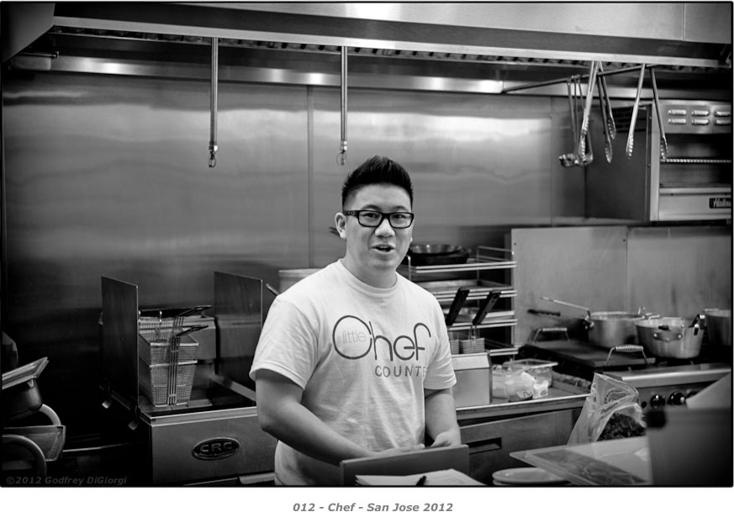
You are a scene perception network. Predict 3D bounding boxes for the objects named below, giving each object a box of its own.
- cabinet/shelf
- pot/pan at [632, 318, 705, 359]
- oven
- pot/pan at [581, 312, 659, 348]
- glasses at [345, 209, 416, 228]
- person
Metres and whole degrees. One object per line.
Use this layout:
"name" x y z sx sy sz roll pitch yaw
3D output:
"cabinet/shelf" 0.431 0.221 2.790 0.663 0.686 0.406 0 1 -2
"pot/pan" 1.693 0.461 3.319 0.287 0.214 0.360 -3 -8 30
"oven" 1.718 -0.560 3.556 0.862 0.690 0.494 0 0 -21
"pot/pan" 1.455 0.429 3.477 0.315 0.115 0.236 -1 -2 -11
"glasses" 0.036 -0.110 1.816 0.209 0.061 0.088 -1 3 -1
"person" -0.005 0.222 1.813 0.684 1.045 0.413 -1 3 -11
